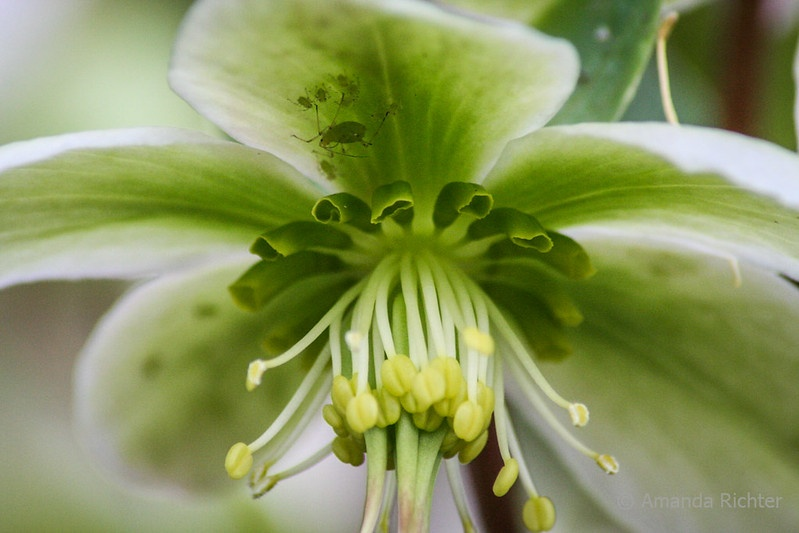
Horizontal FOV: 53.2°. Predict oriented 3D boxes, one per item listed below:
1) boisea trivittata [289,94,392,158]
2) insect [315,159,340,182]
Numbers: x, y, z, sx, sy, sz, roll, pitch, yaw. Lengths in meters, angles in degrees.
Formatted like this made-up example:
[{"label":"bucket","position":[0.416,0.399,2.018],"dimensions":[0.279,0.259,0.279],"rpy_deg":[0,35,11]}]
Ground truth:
[{"label":"boisea trivittata","position":[-0.070,-0.191,1.056],"dimensions":[0.132,0.038,0.158],"rpy_deg":[-2,-8,-17]},{"label":"insect","position":[-0.100,-0.135,1.110],"dimensions":[0.027,0.034,0.014],"rpy_deg":[-14,18,-14]}]
